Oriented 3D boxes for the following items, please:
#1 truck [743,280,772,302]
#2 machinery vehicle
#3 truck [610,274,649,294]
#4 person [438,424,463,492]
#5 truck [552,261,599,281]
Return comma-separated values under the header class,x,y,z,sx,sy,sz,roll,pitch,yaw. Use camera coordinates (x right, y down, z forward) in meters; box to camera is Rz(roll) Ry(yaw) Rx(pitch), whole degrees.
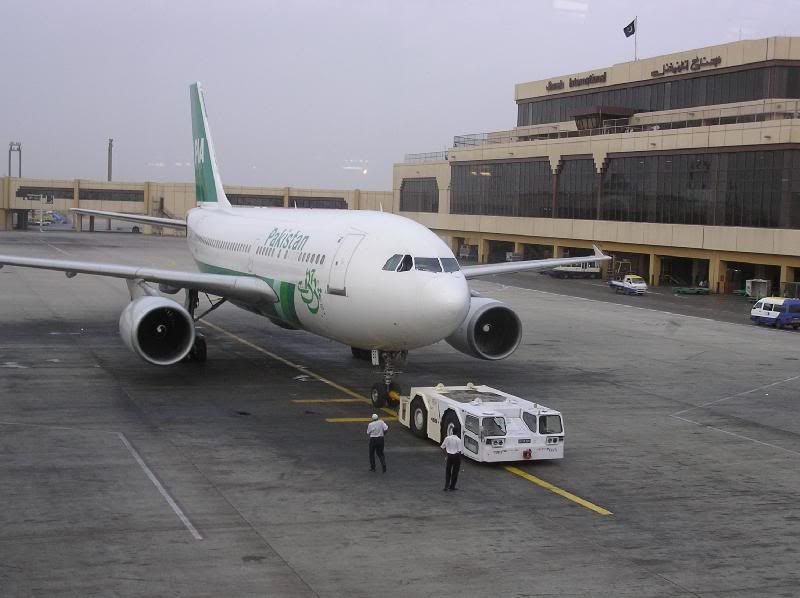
class,x,y,z,sx,sy,sz,roll,pitch,yaw
truck,25.878,-0.705,66.115,2.038,1.765,1.270,-4,8,-32
machinery vehicle,2.210,3.630,27.908,2.452,1.134,3.768,0,2,-25
truck,17.575,-1.024,70.002,1.583,0.979,2.211,-1,3,-25
person,1.383,4.333,24.819,0.468,1.469,0.727,2,10,3
truck,16.113,-2.465,82.888,3.728,1.436,2.406,-1,0,-5
